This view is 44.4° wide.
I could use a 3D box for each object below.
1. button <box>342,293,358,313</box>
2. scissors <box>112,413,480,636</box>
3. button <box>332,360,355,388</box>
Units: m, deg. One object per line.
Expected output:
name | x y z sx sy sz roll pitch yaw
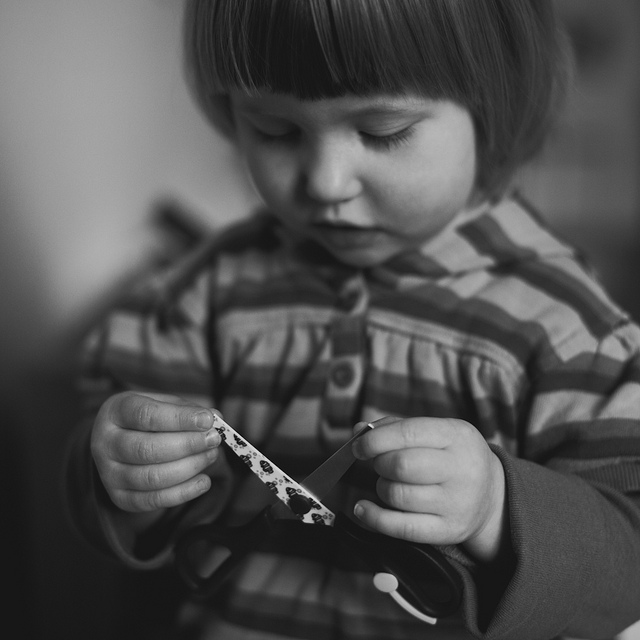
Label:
button | 0.033 -0.019 0.856 0.005 0.019 0.020 15 -10 -18
scissors | -0.019 0.195 0.734 0.227 0.171 0.016 6 27 31
button | 0.025 0.058 0.831 0.024 0.028 0.007 -4 -11 10
